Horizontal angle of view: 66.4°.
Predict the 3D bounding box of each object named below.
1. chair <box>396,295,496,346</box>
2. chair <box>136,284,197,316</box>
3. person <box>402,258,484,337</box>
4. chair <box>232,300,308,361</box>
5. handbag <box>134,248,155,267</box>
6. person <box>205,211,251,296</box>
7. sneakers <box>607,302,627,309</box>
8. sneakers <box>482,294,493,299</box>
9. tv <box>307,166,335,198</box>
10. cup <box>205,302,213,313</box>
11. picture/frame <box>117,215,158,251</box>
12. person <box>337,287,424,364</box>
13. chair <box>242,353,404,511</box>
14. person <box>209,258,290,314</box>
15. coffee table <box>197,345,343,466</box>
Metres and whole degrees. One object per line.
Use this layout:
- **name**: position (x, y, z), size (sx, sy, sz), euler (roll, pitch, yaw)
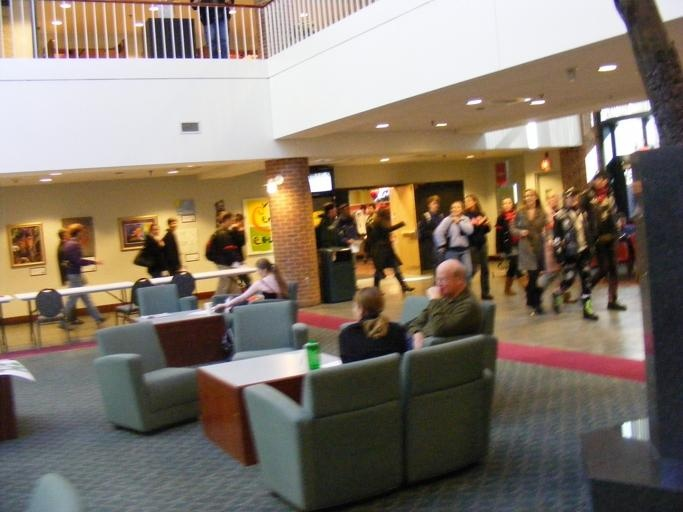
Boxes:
- **chair**: position (1.027, 0.582, 5.277), size (0.480, 0.552, 0.841), euler (2, -1, -25)
- **chair**: position (-3.014, 0.679, 8.906), size (0.772, 0.801, 0.615), euler (-1, -3, -35)
- **person**: position (0.985, 0.385, 5.051), size (0.617, 0.728, 1.059), euler (-5, 9, -9)
- **chair**: position (-0.885, 0.851, 6.339), size (0.810, 0.824, 0.700), euler (-1, -6, -13)
- **handbag**: position (-4.609, 0.014, 12.080), size (0.414, 0.378, 0.397), euler (-1, 14, -42)
- **person**: position (-2.683, 0.085, 12.338), size (0.902, 2.086, 0.706), euler (-8, 22, -13)
- **sneakers**: position (4.573, 0.809, 8.672), size (0.251, 0.145, 0.122), euler (-2, 1, 21)
- **sneakers**: position (3.080, 0.859, 11.040), size (0.146, 0.047, 0.149), euler (1, 4, 36)
- **tv**: position (-0.602, -2.219, 15.262), size (0.929, 0.865, 0.293), euler (-8, 4, -39)
- **cup**: position (-1.972, 0.776, 7.820), size (0.125, 0.128, 0.141), euler (2, 7, 10)
- **picture/frame**: position (-5.612, -0.635, 14.186), size (1.134, 0.985, 0.080), euler (-2, 3, -21)
- **person**: position (0.284, 0.761, 4.262), size (0.521, 0.955, 0.486), euler (-4, 17, 15)
- **chair**: position (-0.043, 1.067, 3.825), size (1.045, 1.122, 1.005), euler (-5, 9, -32)
- **person**: position (-1.378, 0.477, 7.686), size (1.286, 0.675, 0.574), euler (-10, 12, 18)
- **coffee table**: position (-0.832, 1.200, 4.770), size (1.092, 0.638, 1.098), euler (-5, 7, -30)
